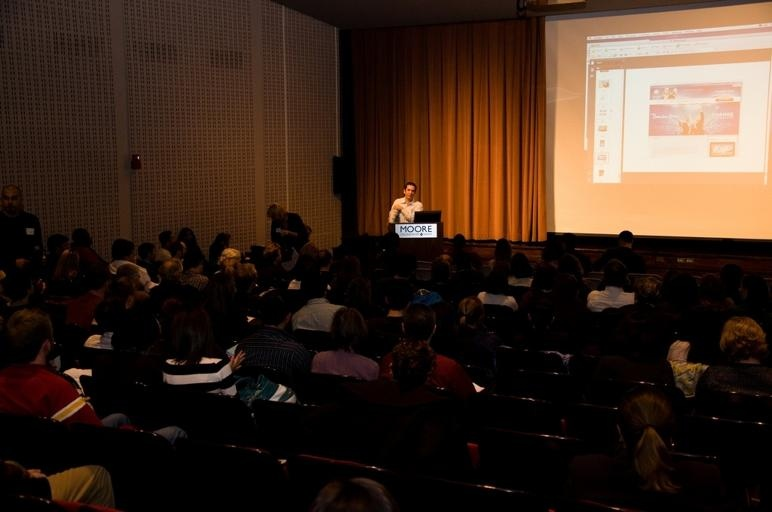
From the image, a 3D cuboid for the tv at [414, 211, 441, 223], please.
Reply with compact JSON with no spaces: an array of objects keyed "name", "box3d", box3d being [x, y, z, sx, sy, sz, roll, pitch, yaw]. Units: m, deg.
[{"name":"tv","box3d":[0.638,-0.567,9.179,0.283,0.194,0.209,2,36,9]}]
